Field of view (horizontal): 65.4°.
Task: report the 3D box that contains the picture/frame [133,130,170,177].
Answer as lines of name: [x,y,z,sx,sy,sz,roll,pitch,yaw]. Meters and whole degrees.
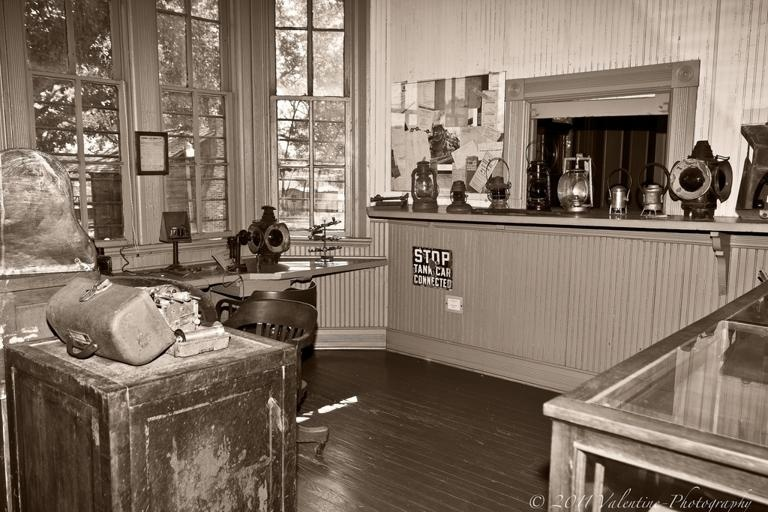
picture/frame: [-2.099,-0.930,5.429,0.329,0.372,0.020,4,9,17]

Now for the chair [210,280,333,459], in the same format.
chair: [-0.733,0.749,4.268,0.825,1.079,1.864,-4,13,-16]
